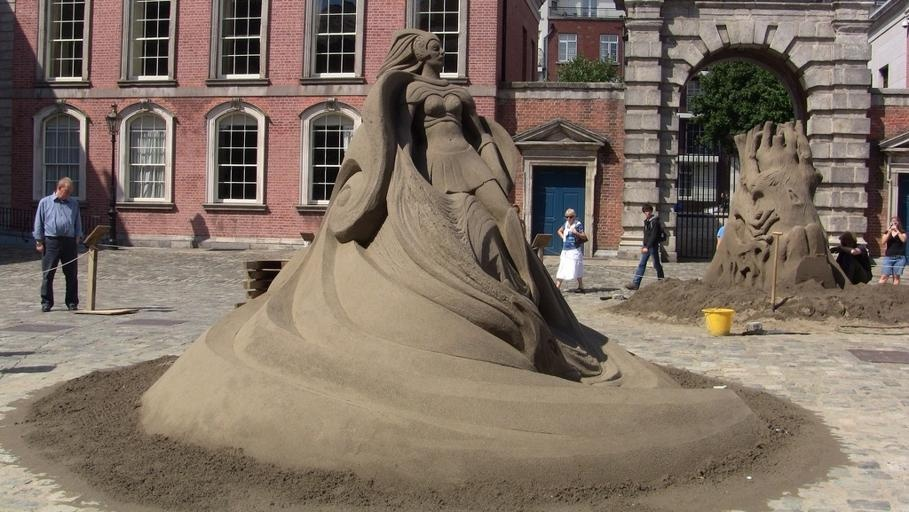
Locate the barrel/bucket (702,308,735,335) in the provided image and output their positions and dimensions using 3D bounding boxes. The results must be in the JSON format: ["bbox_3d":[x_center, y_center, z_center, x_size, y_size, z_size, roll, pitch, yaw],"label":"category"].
[{"bbox_3d":[5.809,1.478,20.593,0.585,0.506,0.577,-4,-7,0],"label":"barrel/bucket"}]

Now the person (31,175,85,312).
[{"bbox_3d":[-9.366,-0.310,21.740,0.989,3.166,0.933,0,5,-21],"label":"person"}]

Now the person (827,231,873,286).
[{"bbox_3d":[9.974,0.009,23.268,1.261,1.292,0.933,-2,5,-36],"label":"person"}]

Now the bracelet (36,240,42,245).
[{"bbox_3d":[-9.805,-0.340,21.746,0.152,0.126,0.157,1,-2,-4],"label":"bracelet"}]

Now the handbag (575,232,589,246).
[{"bbox_3d":[3.410,-0.584,24.992,0.319,0.438,0.408,-2,-18,1],"label":"handbag"}]

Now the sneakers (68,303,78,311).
[{"bbox_3d":[-9.008,1.206,21.687,0.154,0.155,0.157,2,1,39],"label":"sneakers"}]

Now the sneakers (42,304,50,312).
[{"bbox_3d":[-9.557,1.232,21.485,0.143,0.171,0.188,3,4,27],"label":"sneakers"}]
